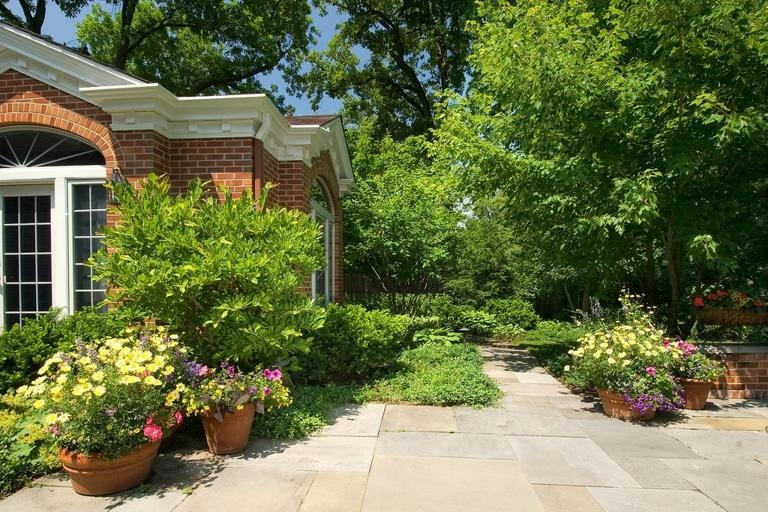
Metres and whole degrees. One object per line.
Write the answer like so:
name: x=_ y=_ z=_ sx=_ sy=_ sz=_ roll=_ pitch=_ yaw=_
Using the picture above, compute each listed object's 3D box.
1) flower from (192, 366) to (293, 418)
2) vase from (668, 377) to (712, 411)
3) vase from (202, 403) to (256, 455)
flower: x=-2.170 y=1.990 z=8.600 sx=1.183 sy=0.525 sz=0.964 roll=0 pitch=3 yaw=-26
vase: x=5.519 y=2.434 z=10.578 sx=0.741 sy=0.450 sz=0.638 roll=1 pitch=-8 yaw=1
vase: x=-2.298 y=2.546 z=8.751 sx=0.853 sy=0.535 sz=0.763 roll=0 pitch=-11 yaw=-13
